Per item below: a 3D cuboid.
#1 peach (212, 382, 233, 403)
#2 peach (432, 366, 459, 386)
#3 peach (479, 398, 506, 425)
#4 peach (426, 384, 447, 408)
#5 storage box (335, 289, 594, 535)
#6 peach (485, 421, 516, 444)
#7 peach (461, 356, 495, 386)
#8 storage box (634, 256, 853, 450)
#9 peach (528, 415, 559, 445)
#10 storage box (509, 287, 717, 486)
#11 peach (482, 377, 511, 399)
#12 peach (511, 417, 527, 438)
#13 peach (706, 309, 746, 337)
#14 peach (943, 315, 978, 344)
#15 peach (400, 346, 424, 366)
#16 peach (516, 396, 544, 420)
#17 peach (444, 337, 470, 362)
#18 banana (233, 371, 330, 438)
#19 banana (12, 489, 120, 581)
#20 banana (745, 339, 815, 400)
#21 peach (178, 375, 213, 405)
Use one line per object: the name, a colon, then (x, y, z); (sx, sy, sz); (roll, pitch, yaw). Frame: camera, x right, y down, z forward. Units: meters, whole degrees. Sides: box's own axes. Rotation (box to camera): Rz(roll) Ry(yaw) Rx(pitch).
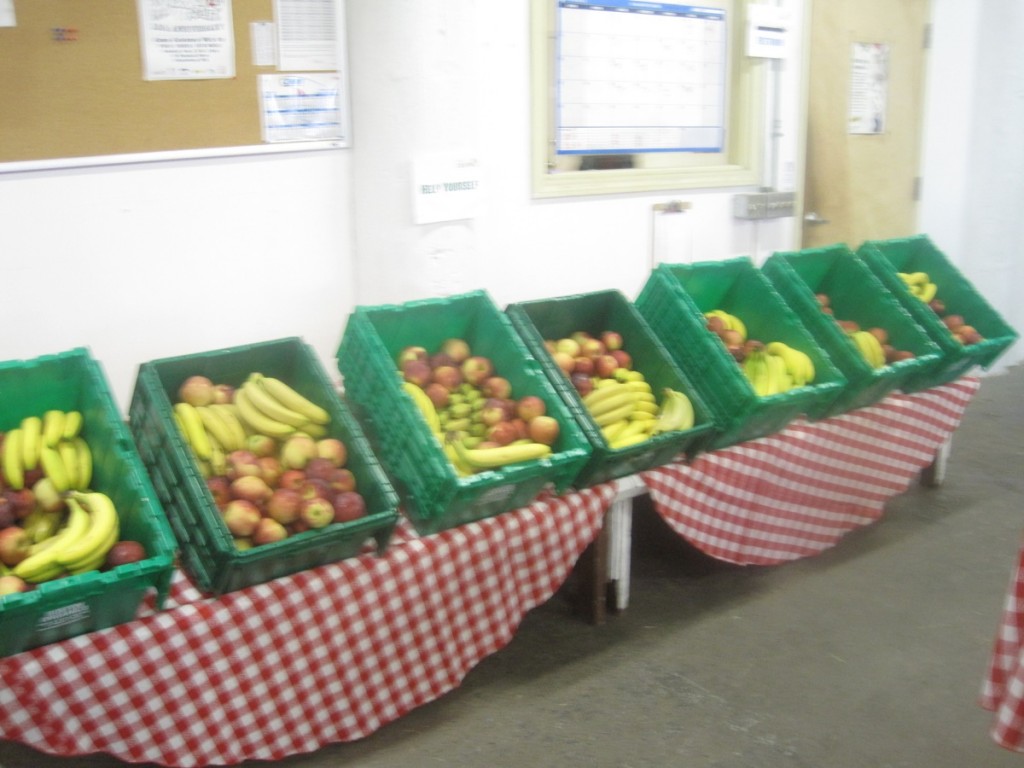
peach: (-0.877, 0.027, 2.299); (0.053, 0.051, 0.048); (17, -14, 49)
peach: (-0.213, -0.026, 2.484); (0.072, 0.064, 0.064); (-7, 45, 26)
peach: (-0.065, 0.079, 2.371); (0.064, 0.044, 0.080); (3, 29, 1)
peach: (-0.238, 0.033, 2.393); (0.068, 0.066, 0.069); (7, 40, 14)
storage box: (-0.156, 0.051, 2.411); (0.617, 0.273, 0.715); (-8, 57, -25)
peach: (-0.039, 0.159, 2.317); (0.080, 0.058, 0.069); (-14, -21, 10)
peach: (-0.118, -0.052, 2.567); (0.095, 0.090, 0.091); (0, -21, -8)
storage box: (0.756, -0.158, 3.011); (0.707, 0.380, 0.811); (-18, 70, -30)
peach: (0.099, 0.143, 2.388); (0.085, 0.094, 0.087); (-13, 11, 30)
storage box: (0.355, -0.094, 2.668); (0.657, 0.714, 0.606); (-9, 25, -27)
peach: (-0.052, 0.011, 2.476); (0.073, 0.069, 0.071); (12, 17, 9)
peach: (0.018, 0.132, 2.370); (0.047, 0.047, 0.057); (-14, 32, 8)
peach: (0.874, -0.256, 3.043); (0.143, 0.055, 0.141); (2, 33, -48)
peach: (2.080, -0.255, 3.473); (0.076, 0.066, 0.144); (24, 21, -44)
peach: (-0.337, -0.101, 2.495); (0.077, 0.062, 0.064); (-6, 21, -3)
peach: (0.059, 0.074, 2.385); (0.072, 0.068, 0.070); (-3, -18, -2)
peach: (-0.193, -0.119, 2.570); (0.078, 0.073, 0.091); (-4, -4, 0)
banana: (-0.684, 0.084, 2.215); (0.270, 0.088, 0.149); (35, 56, 15)
banana: (-1.072, 0.372, 1.841); (0.181, 0.115, 0.270); (-3, 21, 5)
banana: (1.018, -0.070, 2.898); (0.249, 0.228, 0.194); (-3, 18, -13)
peach: (-0.938, 0.019, 2.227); (0.089, 0.086, 0.082); (9, 58, -13)
